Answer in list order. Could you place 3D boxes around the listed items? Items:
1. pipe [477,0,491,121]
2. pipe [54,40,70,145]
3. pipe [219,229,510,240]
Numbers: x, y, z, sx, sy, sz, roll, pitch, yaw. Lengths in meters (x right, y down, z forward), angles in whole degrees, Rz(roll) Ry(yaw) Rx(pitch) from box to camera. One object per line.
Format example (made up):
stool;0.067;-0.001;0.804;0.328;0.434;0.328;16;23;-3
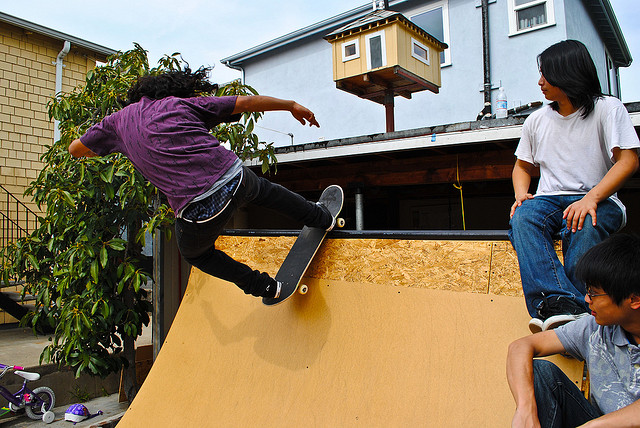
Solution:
pipe;3.008;-2.848;9.516;0.173;2.309;0.498;0;-5;17
pipe;-5.175;-2.441;10.508;0.219;2.012;0.829;4;-5;-28
pipe;0.387;0.178;4.734;2.496;0.087;0.185;0;-5;25
